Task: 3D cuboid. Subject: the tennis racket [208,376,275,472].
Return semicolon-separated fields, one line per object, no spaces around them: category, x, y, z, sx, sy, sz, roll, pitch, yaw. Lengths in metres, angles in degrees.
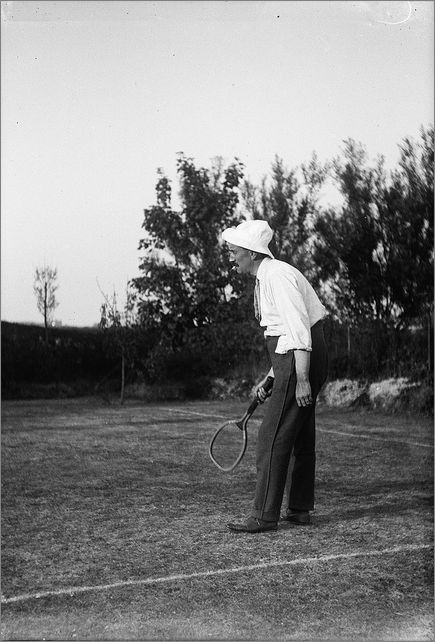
tennis racket;0.122;0.612;4.630;0.196;0.054;0.672;5;-46;-16

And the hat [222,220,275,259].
hat;0.132;-0.365;3.594;0.161;0.123;0.154;25;7;-12

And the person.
person;0.243;0.252;3.591;0.435;1.354;0.353;1;6;9

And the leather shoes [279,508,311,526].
leather shoes;0.351;0.879;3.736;0.116;0.076;0.063;9;4;34
